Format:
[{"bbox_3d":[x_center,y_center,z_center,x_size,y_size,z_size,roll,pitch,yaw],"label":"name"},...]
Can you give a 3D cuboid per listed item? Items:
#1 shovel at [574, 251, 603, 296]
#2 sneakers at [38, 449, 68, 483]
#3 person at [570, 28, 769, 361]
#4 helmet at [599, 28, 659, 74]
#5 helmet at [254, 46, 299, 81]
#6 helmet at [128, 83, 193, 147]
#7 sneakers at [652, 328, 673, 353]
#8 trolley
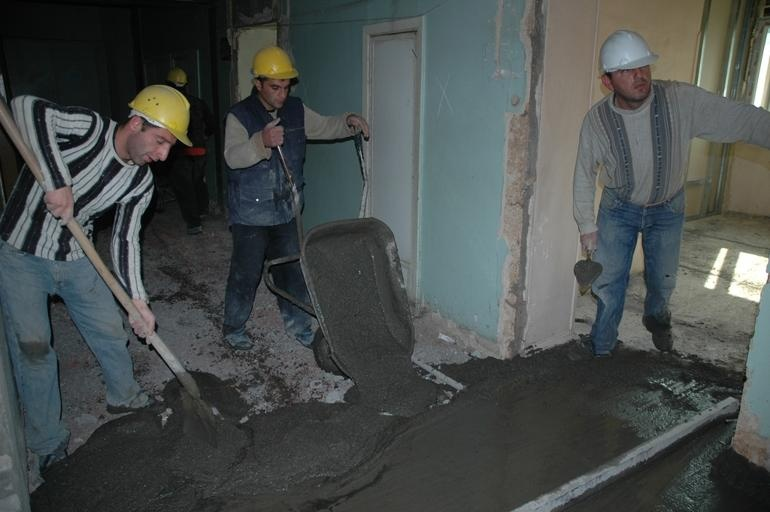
[{"bbox_3d":[1.644,0.089,4.730,0.211,0.145,0.469,5,32,22],"label":"shovel"},{"bbox_3d":[-2.279,1.422,4.018,0.121,0.043,0.189,29,49,-12],"label":"sneakers"},{"bbox_3d":[2.049,-0.402,4.579,1.150,2.519,0.322,4,17,11],"label":"person"},{"bbox_3d":[1.754,-1.451,4.253,0.284,0.201,0.360,-20,24,-10],"label":"helmet"},{"bbox_3d":[-0.884,-1.489,4.718,0.262,0.184,0.340,-22,41,-32],"label":"helmet"},{"bbox_3d":[-1.423,-0.937,3.995,0.440,0.267,0.349,32,16,-6],"label":"helmet"},{"bbox_3d":[2.295,0.684,4.976,0.165,0.211,0.205,-8,6,2],"label":"sneakers"},{"bbox_3d":[-0.401,0.136,4.643,0.747,1.664,0.721,-13,0,-28],"label":"trolley"}]
